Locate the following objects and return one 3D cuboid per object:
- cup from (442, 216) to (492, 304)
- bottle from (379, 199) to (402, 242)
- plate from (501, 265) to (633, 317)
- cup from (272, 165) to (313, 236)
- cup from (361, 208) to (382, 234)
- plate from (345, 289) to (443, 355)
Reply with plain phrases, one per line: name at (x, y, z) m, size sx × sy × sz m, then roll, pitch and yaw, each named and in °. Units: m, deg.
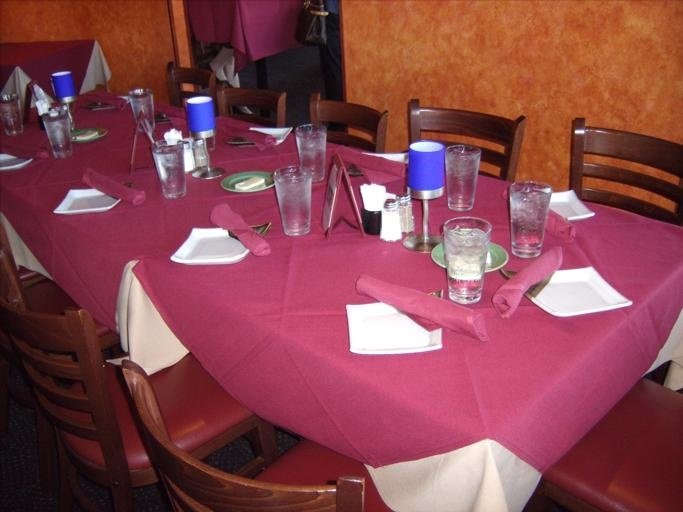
cup at (0.300, 0.017, 1.228) m, size 0.110 × 0.183 × 0.106 m, roll -4°, pitch 33°, yaw 2°
bottle at (0.140, -0.098, 1.448) m, size 0.079 × 0.138 × 0.083 m, roll -1°, pitch 33°, yaw 1°
plate at (0.550, 0.086, 1.234) m, size 0.213 × 0.053 × 0.152 m, roll -3°, pitch 28°, yaw -7°
cup at (-0.140, -0.152, 1.512) m, size 0.121 × 0.182 × 0.115 m, roll -1°, pitch 37°, yaw 0°
cup at (0.087, -0.093, 1.526) m, size 0.062 × 0.062 × 0.064 m, roll -2°, pitch 31°, yaw 1°
plate at (0.119, 0.162, 1.170) m, size 0.207 × 0.037 × 0.149 m, roll 0°, pitch 28°, yaw -3°
